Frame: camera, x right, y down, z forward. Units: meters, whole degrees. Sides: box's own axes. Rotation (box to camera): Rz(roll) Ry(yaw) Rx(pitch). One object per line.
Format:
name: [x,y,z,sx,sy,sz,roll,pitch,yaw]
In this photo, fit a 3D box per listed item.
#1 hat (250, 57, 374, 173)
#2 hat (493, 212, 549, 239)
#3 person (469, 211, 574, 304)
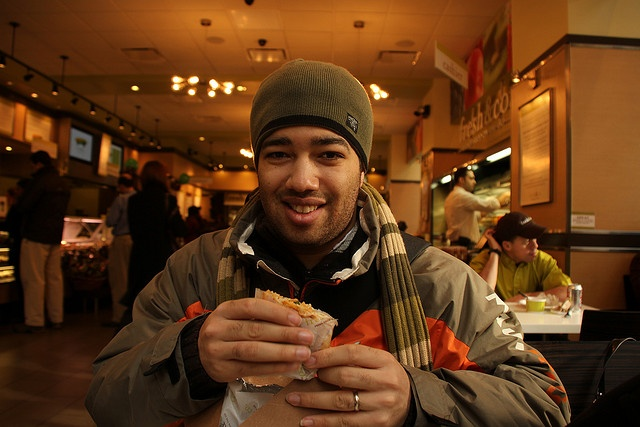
hat: [-0.066,-0.621,2.847,0.760,0.673,0.853,0,-18,1]
hat: [1.853,0.095,4.281,0.345,0.240,0.477,-22,8,-43]
person: [1.868,0.342,4.565,0.744,0.932,0.985,-4,7,-21]
